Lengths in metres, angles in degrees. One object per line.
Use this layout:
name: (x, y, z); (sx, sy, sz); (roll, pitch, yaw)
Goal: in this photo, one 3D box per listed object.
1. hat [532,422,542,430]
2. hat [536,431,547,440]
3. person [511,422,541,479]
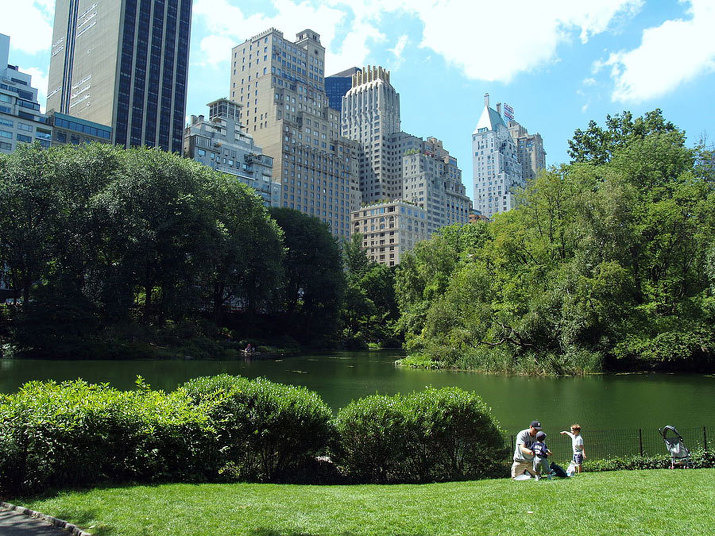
hat: (9.986, 8.827, 51.510); (0.628, 0.384, 0.458); (9, 3, -38)
hat: (10.241, 9.420, 51.437); (0.388, 0.349, 0.665); (2, 13, 34)
person: (9.288, 10.198, 51.192); (1.483, 3.091, 1.025); (0, 8, -2)
